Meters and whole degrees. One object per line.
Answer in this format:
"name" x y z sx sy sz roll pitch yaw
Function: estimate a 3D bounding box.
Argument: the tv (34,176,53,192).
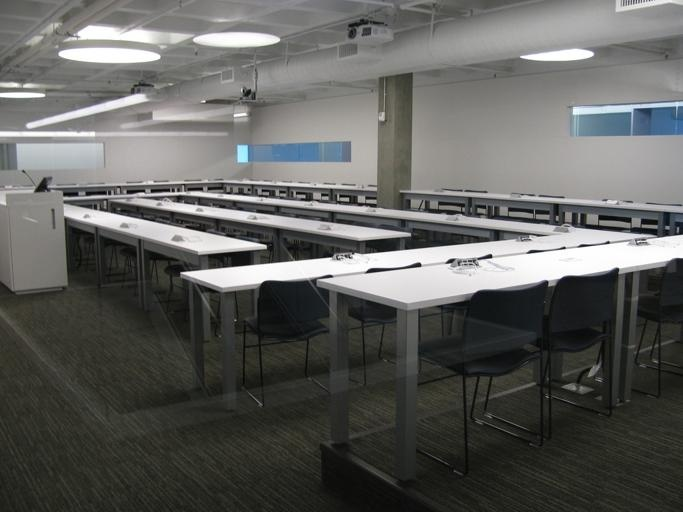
"tv" -3.499 -0.850 5.746 0.188 0.157 0.143 -22 4 16

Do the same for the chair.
"chair" 0.717 0.440 3.169 3.191 1.022 1.668 -9 14 -25
